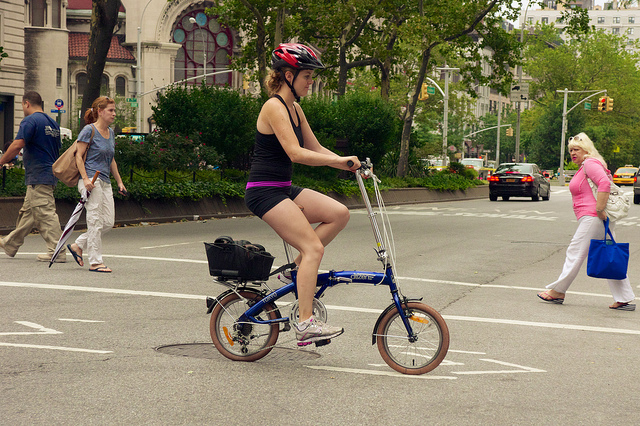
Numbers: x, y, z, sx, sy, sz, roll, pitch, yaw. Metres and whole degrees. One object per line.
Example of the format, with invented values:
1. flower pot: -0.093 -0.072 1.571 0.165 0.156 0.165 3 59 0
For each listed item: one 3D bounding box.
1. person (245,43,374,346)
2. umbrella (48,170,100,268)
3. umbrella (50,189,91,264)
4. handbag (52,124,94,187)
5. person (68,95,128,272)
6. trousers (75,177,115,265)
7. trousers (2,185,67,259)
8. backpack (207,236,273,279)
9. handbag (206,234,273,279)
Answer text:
1. person: -0.274 -0.191 9.634 1.138 3.290 0.505 2 5 -1
2. umbrella: -4.037 0.089 14.220 0.225 2.145 0.252 26 39 -15
3. umbrella: -4.580 0.279 15.885 0.223 1.823 0.266 38 25 -7
4. handbag: -4.092 -0.793 14.072 0.504 0.702 0.235 4 6 23
5. person: -3.715 -0.489 14.436 0.793 2.831 1.136 1 5 -14
6. trousers: -3.680 0.132 14.168 0.562 1.432 0.473 1 5 -15
7. trousers: -4.903 0.073 14.878 1.187 1.450 0.778 0 -1 30
8. backpack: -0.918 0.522 9.948 0.776 0.425 0.588 5 0 11
9. handbag: -0.931 0.519 9.951 0.754 0.433 0.593 4 -2 25
